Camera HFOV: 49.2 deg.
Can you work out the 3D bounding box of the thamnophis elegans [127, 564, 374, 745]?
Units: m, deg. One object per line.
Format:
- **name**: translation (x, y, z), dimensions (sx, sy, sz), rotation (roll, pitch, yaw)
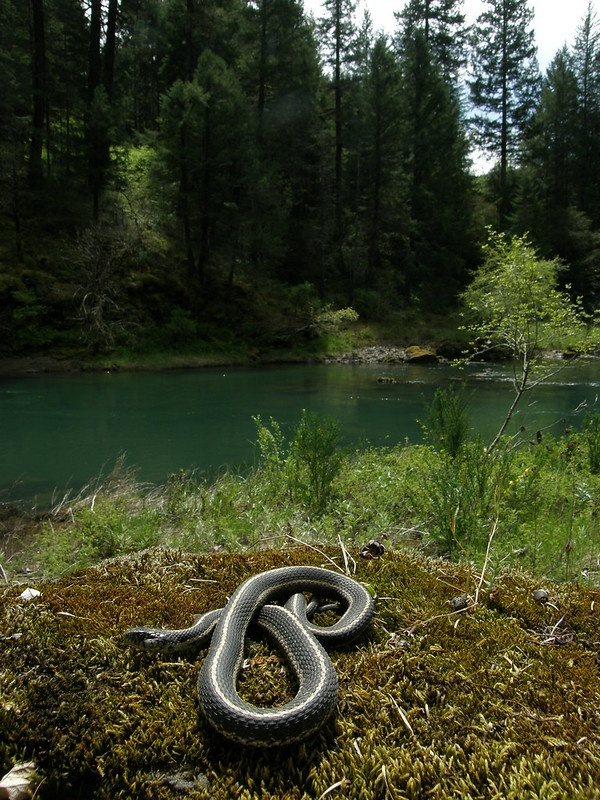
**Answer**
- **thamnophis elegans**: translation (-0.097, 1.161, 2.997), dimensions (0.640, 0.125, 0.633), rotation (-11, 14, -29)
